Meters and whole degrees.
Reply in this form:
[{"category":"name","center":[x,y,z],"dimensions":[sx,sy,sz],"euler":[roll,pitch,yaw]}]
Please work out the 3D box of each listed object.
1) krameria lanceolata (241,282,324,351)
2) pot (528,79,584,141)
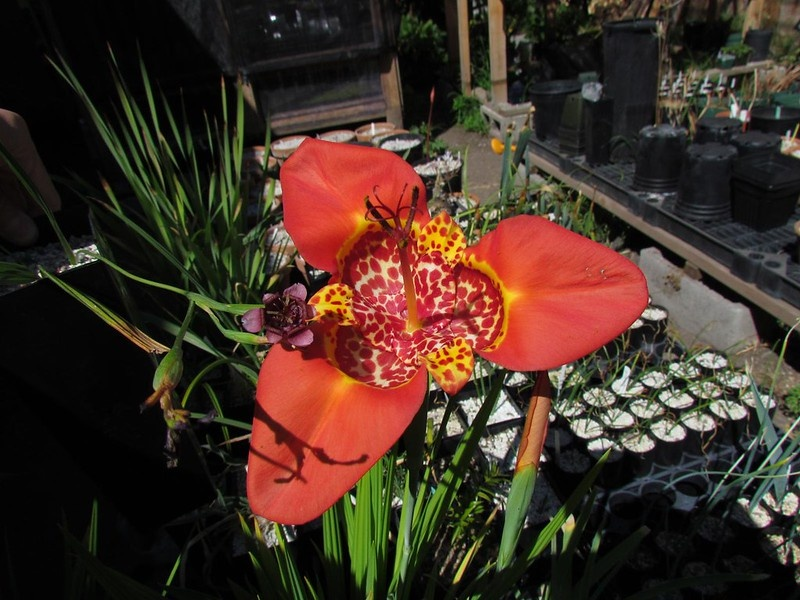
[{"category":"krameria lanceolata","center":[-0.279,0.050,1.284],"dimensions":[0.168,0.103,0.146],"euler":[-23,39,-20]},{"category":"pot","center":[1.558,-1.906,5.636],"dimensions":[0.540,0.531,0.649],"euler":[-15,34,-11]}]
